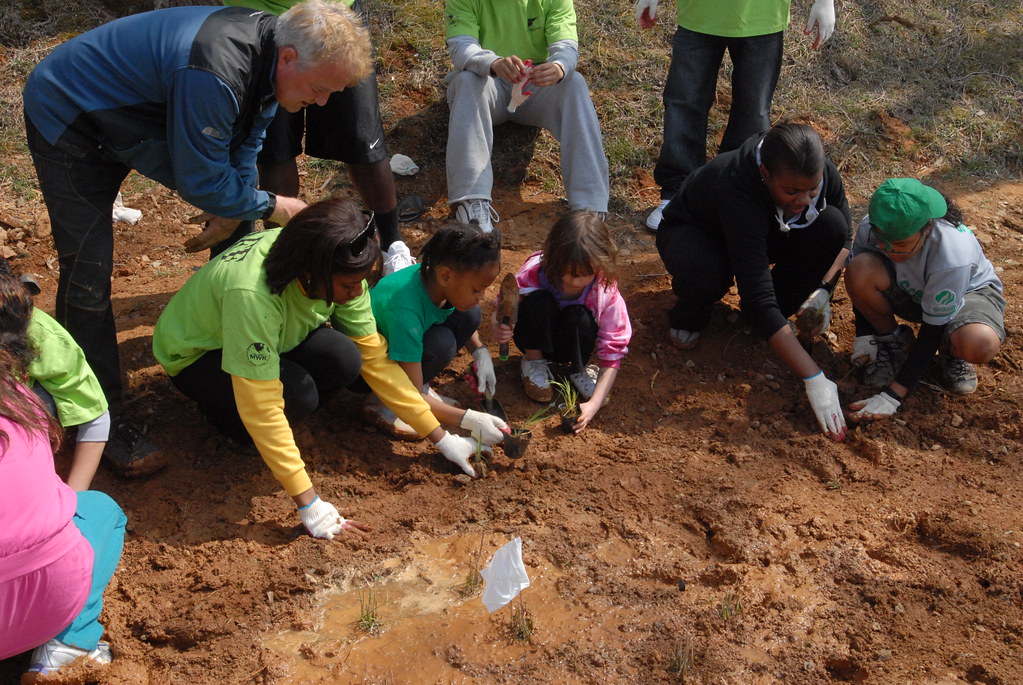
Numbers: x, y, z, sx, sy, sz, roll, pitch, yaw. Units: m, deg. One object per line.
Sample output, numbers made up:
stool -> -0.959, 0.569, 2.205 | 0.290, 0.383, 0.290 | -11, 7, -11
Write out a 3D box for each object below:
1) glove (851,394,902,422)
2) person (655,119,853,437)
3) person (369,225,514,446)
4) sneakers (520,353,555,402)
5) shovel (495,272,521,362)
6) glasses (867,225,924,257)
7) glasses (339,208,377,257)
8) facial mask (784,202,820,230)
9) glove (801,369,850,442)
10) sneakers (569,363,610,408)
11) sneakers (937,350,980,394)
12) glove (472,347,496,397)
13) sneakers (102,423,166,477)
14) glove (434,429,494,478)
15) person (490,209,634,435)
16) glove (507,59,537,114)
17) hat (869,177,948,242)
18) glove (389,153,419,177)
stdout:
glove -> 1.990, 0.351, 4.484 | 0.215, 0.090, 0.158 | -23, 17, -6
person -> 1.363, -0.460, 4.580 | 1.115, 1.447, 1.091 | 7, 34, 10
person -> -0.377, 0.010, 4.348 | 0.759, 0.848, 0.561 | 31, 45, 2
sneakers -> 0.150, 0.216, 4.678 | 0.114, 0.134, 0.326 | -8, 37, -12
shovel -> -0.020, -0.134, 4.458 | 0.114, 0.533, 0.045 | 3, 35, -6
glasses -> 2.068, -0.508, 4.364 | 0.177, 0.099, 0.168 | -49, 25, -9
glasses -> -0.695, -0.487, 3.700 | 0.161, 0.052, 0.167 | -14, 29, 32
facial mask -> 1.624, -0.678, 4.573 | 0.189, 0.105, 0.144 | -18, 11, 32
glove -> 1.694, 0.336, 4.439 | 0.196, 0.373, 0.112 | -15, -2, 37
sneakers -> 0.413, 0.233, 4.717 | 0.101, 0.124, 0.282 | 13, 33, -1
sneakers -> 2.512, 0.186, 4.606 | 0.127, 0.134, 0.293 | -16, 49, 24
glove -> -0.154, 0.170, 4.637 | 0.088, 0.261, 0.144 | -13, -7, 43
sneakers -> -1.920, 0.547, 4.163 | 0.197, 0.103, 0.331 | -26, 46, -30
glove -> -0.249, 0.562, 4.270 | 0.081, 0.268, 0.232 | -40, 16, 32
person -> 0.318, -0.187, 4.522 | 0.771, 1.044, 1.187 | 4, 40, 0
glove -> 0.073, -1.713, 5.512 | 0.151, 0.395, 0.117 | 42, 70, 9
hat -> 2.112, -0.691, 4.356 | 0.395, 0.291, 0.262 | -18, 38, -25
glove -> -0.799, -1.298, 6.105 | 0.226, 0.108, 0.296 | 0, 22, -20
